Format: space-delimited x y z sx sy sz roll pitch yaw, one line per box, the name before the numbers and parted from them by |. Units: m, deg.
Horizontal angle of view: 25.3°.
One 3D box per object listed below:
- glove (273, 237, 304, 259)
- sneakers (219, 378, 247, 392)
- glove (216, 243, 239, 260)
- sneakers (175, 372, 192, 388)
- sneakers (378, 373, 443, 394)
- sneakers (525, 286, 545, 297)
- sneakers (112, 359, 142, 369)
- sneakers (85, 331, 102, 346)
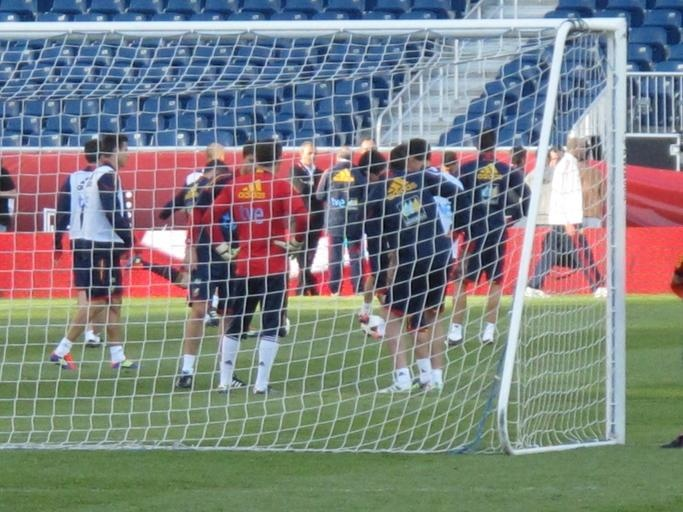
glove | -0.436 -0.070 13.091 0.240 0.144 0.512 -1 -2 4
sneakers | -0.920 1.098 13.060 0.093 0.100 0.267 12 14 33
glove | -0.981 -0.046 13.225 0.215 0.101 0.151 32 -7 -34
sneakers | -1.344 1.062 13.131 0.127 0.128 0.056 10 19 -1
sneakers | 0.532 1.066 12.901 0.628 0.206 0.186 1 -9 -2
sneakers | 1.540 0.263 12.235 0.123 0.034 0.126 1 7 -43
sneakers | -1.936 0.975 13.890 0.333 0.108 0.105 -1 9 -6
sneakers | -2.422 0.786 14.768 0.255 0.138 0.088 1 11 -14
